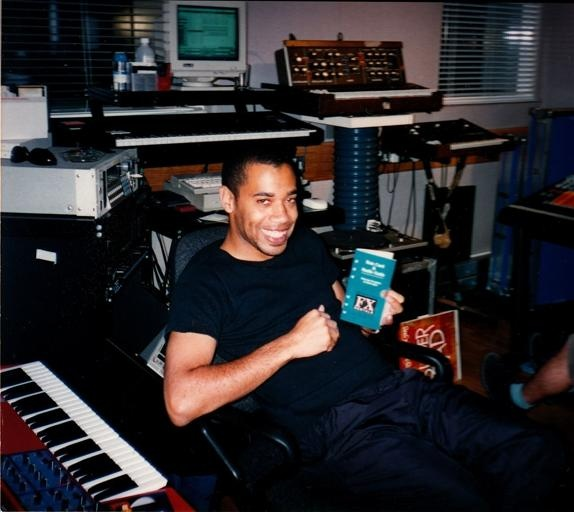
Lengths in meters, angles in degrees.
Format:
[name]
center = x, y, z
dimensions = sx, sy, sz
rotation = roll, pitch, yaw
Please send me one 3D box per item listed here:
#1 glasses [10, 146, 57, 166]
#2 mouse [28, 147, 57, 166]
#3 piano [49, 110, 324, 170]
[glasses]
center = -1.046, -0.415, 2.097
dimensions = 0.191, 0.056, 0.086
rotation = 5, 14, 13
[mouse]
center = -1.025, -0.405, 2.093
dimensions = 0.114, 0.070, 0.064
rotation = 6, 12, -18
[piano]
center = -0.474, -0.707, 2.848
dimensions = 1.139, 0.184, 0.320
rotation = -7, 45, -12
